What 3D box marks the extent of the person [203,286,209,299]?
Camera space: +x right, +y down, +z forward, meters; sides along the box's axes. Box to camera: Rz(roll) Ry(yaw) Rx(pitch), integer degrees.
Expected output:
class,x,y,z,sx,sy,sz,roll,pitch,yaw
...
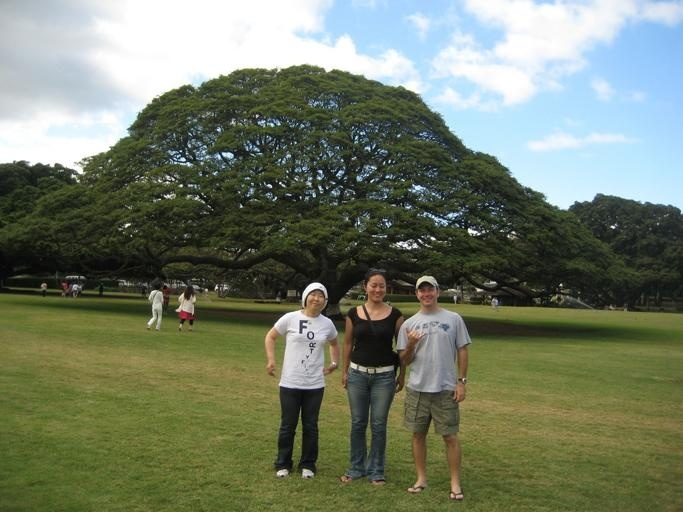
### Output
class,x,y,z,sx,sy,sz,roll,pitch,yaw
person,-19.406,5.182,73.789,0.371,1.345,0.804,-13,42,-44

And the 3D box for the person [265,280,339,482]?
class,x,y,z,sx,sy,sz,roll,pitch,yaw
person,-0.455,1.403,5.971,0.856,2.199,0.438,3,-3,-8

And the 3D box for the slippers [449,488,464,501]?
class,x,y,z,sx,sy,sz,roll,pitch,yaw
slippers,1.245,2.556,5.617,0.149,0.090,0.256,2,-3,14

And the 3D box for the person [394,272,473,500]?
class,x,y,z,sx,sy,sz,roll,pitch,yaw
person,0.991,1.409,5.721,0.788,2.370,0.392,2,-3,9

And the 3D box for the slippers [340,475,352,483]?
class,x,y,z,sx,sy,sz,roll,pitch,yaw
slippers,0.040,2.505,5.836,0.132,0.058,0.122,-1,-4,43

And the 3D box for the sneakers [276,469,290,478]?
class,x,y,z,sx,sy,sz,roll,pitch,yaw
sneakers,-0.664,2.455,5.862,0.085,0.046,0.135,-1,-2,-1

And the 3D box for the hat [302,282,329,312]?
class,x,y,z,sx,sy,sz,roll,pitch,yaw
hat,-0.326,0.472,6.064,0.259,0.297,0.175,4,4,-4
